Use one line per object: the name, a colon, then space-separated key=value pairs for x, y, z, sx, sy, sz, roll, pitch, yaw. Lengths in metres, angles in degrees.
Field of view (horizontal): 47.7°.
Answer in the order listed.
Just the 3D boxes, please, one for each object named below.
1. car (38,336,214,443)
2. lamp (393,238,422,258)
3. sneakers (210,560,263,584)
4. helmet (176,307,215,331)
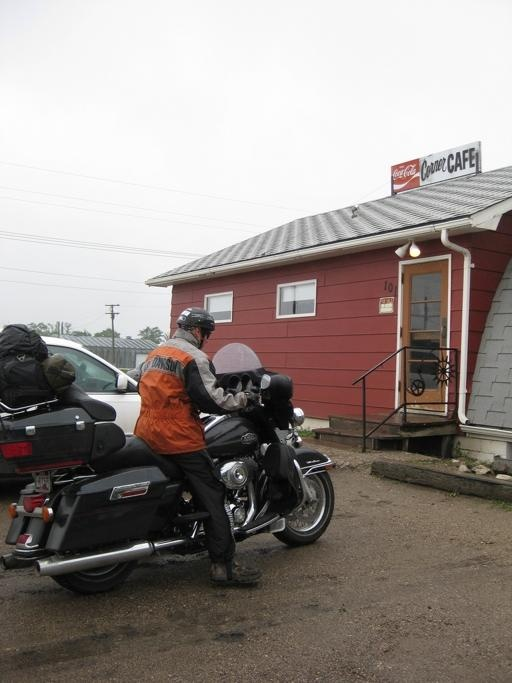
car: x=-1.976 y=0.527 z=6.339 sx=2.274 sy=1.109 sz=1.246 roll=0 pitch=1 yaw=-26
lamp: x=2.413 y=-1.437 z=9.171 sx=0.382 sy=0.267 sz=0.693 roll=-1 pitch=-5 yaw=13
sneakers: x=-0.121 y=1.375 z=3.384 sx=0.315 sy=0.122 sz=0.140 roll=0 pitch=2 yaw=-5
helmet: x=-0.366 y=-0.147 z=3.575 sx=0.207 sy=0.135 sz=0.145 roll=-6 pitch=12 yaw=-27
